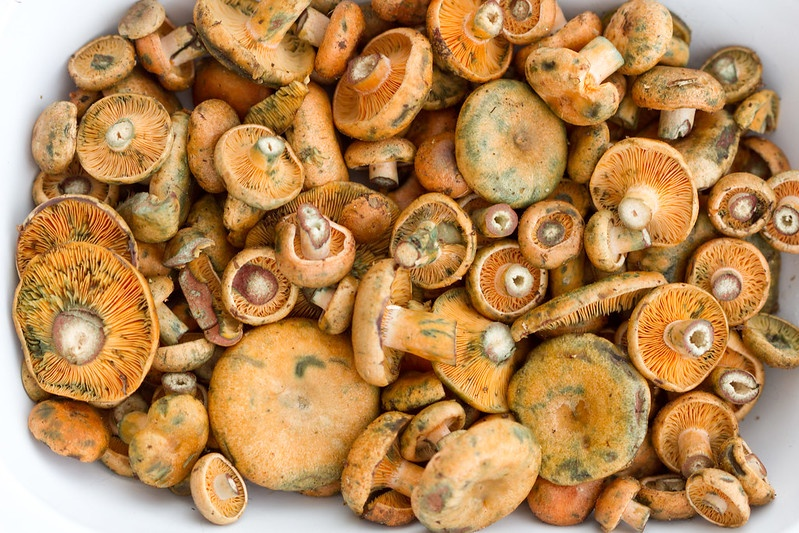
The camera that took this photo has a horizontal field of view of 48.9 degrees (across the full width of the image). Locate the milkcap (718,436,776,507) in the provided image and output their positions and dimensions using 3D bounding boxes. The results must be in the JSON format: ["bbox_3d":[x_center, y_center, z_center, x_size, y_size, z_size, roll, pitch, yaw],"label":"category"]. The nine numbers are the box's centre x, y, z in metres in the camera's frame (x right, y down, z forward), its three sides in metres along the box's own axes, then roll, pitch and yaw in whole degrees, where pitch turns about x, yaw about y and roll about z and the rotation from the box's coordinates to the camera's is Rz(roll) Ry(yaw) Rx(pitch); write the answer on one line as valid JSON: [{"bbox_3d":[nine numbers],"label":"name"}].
[{"bbox_3d":[2.926,1.730,7.419,0.207,0.441,0.539,-25,-103,-4],"label":"milkcap"}]

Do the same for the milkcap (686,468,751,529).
[{"bbox_3d":[2.645,1.943,7.317,0.211,0.444,0.517,-39,-65,-22],"label":"milkcap"}]
